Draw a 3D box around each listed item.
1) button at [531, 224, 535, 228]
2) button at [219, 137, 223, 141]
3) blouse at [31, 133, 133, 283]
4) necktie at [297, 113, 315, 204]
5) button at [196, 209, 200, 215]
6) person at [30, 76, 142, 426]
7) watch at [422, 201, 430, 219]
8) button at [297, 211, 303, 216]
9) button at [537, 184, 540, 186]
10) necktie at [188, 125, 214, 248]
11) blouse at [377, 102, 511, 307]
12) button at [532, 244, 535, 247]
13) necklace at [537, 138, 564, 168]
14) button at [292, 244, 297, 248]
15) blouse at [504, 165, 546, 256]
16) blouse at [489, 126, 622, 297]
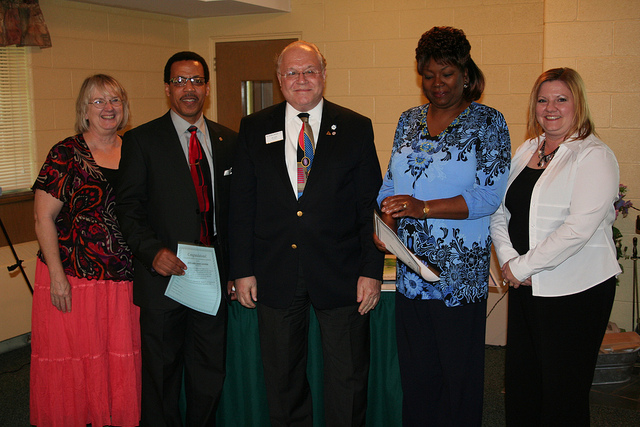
[{"bbox_3d":[1.296,0.078,3.437,0.022,0.022,0.006,2,-3,15],"label":"button"},{"bbox_3d":[-0.647,-0.486,3.698,0.023,0.023,0.005,2,-4,-17],"label":"button"},{"bbox_3d":[-1.544,-0.019,3.727,0.588,0.974,0.184,-1,11,-3],"label":"blouse"},{"bbox_3d":[-0.082,-0.335,3.420,0.105,0.527,0.145,-1,11,-2],"label":"necktie"},{"bbox_3d":[-0.765,-0.014,3.546,0.033,0.034,0.008,1,4,-11],"label":"button"},{"bbox_3d":[-1.604,0.294,3.744,0.746,2.330,0.350,-3,11,-12],"label":"person"},{"bbox_3d":[0.598,-0.016,3.185,0.049,0.064,0.026,27,4,10],"label":"watch"},{"bbox_3d":[-0.117,0.001,3.391,0.030,0.026,0.004,0,11,6],"label":"button"},{"bbox_3d":[1.329,-0.172,3.435,0.013,0.013,0.003,-1,-3,10],"label":"button"},{"bbox_3d":[-0.751,-0.181,3.600,0.131,0.724,0.178,-6,12,-25],"label":"necktie"},{"bbox_3d":[0.699,-0.083,3.457,0.680,1.175,0.822,-6,12,-34],"label":"blouse"},{"bbox_3d":[1.296,0.194,3.434,0.016,0.016,0.009,9,11,19],"label":"button"},{"bbox_3d":[1.412,-0.375,3.487,0.100,0.166,0.041,15,-19,50],"label":"necklace"},{"bbox_3d":[-0.153,0.197,3.416,0.024,0.024,0.006,2,-1,-5],"label":"button"},{"bbox_3d":[1.263,-0.024,3.577,0.214,0.581,0.277,20,23,39],"label":"blouse"},{"bbox_3d":[1.456,-0.053,3.586,0.703,1.016,0.793,-8,13,-25],"label":"blouse"}]
